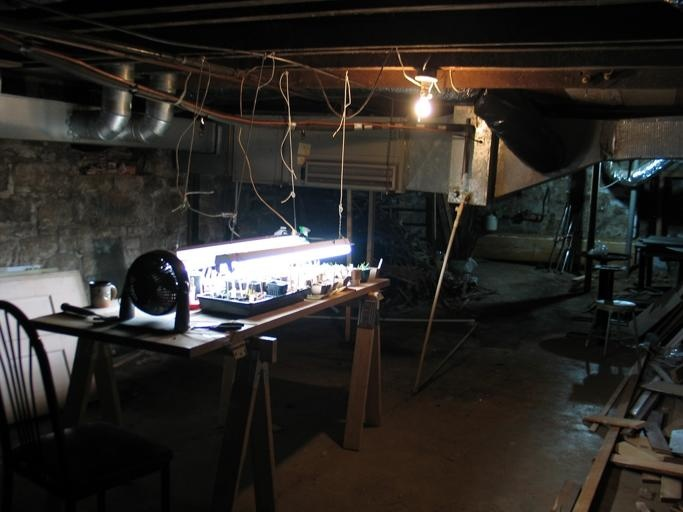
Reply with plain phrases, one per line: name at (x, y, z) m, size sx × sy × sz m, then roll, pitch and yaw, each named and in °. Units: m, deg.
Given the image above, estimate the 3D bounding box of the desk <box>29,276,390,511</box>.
desk at (-1.130, 0.929, 4.707) m, size 1.834 × 1.204 × 2.420 m, roll 4°, pitch 4°, yaw 24°

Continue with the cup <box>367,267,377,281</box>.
cup at (0.333, 0.184, 5.849) m, size 0.140 × 0.115 × 0.115 m, roll 3°, pitch 6°, yaw 25°

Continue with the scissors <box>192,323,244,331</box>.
scissors at (-0.891, 0.529, 4.148) m, size 0.223 × 0.032 × 0.139 m, roll -4°, pitch 0°, yaw 2°

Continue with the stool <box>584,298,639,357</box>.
stool at (4.133, 1.115, 8.518) m, size 0.649 × 0.797 × 0.617 m, roll -7°, pitch 11°, yaw -31°
